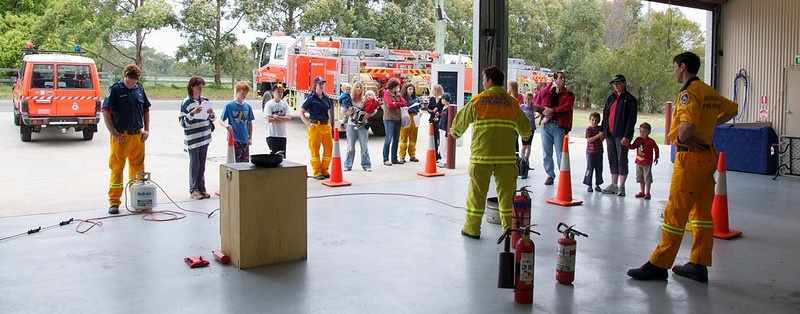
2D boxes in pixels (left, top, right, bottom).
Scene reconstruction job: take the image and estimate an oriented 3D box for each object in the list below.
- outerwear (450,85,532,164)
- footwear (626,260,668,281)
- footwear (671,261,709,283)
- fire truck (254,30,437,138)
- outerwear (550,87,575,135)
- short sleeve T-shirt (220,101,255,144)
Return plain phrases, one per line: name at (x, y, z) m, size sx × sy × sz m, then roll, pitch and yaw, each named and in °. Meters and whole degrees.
outerwear at (2.993, -1.036, 16.264) m, size 3.049 × 2.256 × 0.938 m, roll 1°, pitch 14°, yaw 0°
footwear at (7.468, 3.453, 15.437) m, size 1.333 × 0.441 × 0.470 m, roll 2°, pitch -2°, yaw 5°
footwear at (8.842, 3.403, 15.371) m, size 1.147 × 0.389 × 0.452 m, roll 12°, pitch 8°, yaw 35°
fire truck at (-4.153, -4.886, 30.111) m, size 5.880 × 3.786 × 10.138 m, roll -5°, pitch 16°, yaw -35°
outerwear at (6.487, -1.940, 20.517) m, size 1.282 × 1.627 × 1.499 m, roll -8°, pitch 16°, yaw -10°
short sleeve T-shirt at (-6.113, -1.349, 18.997) m, size 1.014 × 1.569 × 0.320 m, roll -1°, pitch 7°, yaw -15°
